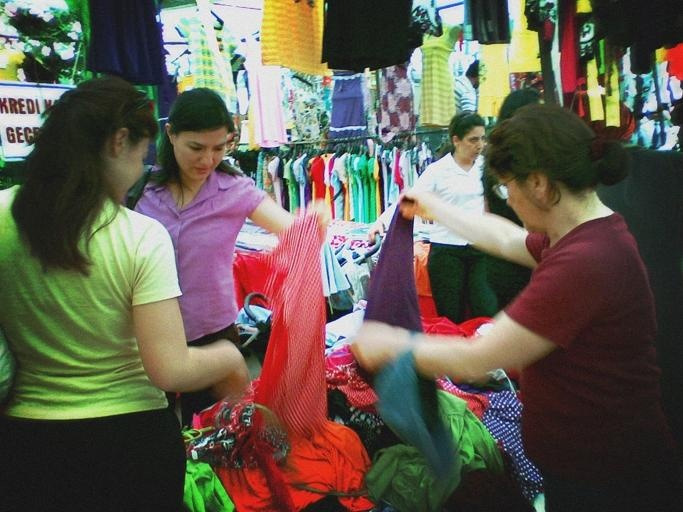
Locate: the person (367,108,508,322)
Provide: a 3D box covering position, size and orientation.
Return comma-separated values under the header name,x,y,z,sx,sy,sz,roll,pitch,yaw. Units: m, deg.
name,x,y,z,sx,sy,sz,roll,pitch,yaw
person,0.760,-0.093,3.610,1.023,1.543,0.341,-1,27,12
